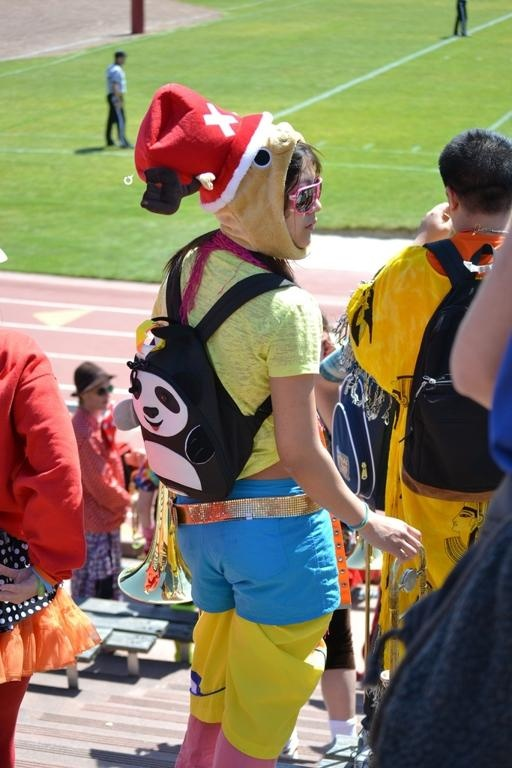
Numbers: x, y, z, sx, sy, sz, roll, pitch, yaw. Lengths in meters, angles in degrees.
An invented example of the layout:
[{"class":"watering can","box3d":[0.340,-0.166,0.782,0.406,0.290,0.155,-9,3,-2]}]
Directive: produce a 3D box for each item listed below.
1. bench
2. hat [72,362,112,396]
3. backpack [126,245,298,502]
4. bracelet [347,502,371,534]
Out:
[{"class":"bench","box3d":[-0.543,1.073,3.866,0.807,0.142,0.431,3,26,5]},{"class":"hat","box3d":[-0.899,-0.029,5.180,0.169,0.098,0.218,-25,-2,38]},{"class":"backpack","box3d":[-0.165,0.011,2.558,0.429,0.627,0.207,11,11,39]},{"class":"bracelet","box3d":[0.280,0.350,2.481,0.029,0.067,0.061,30,45,20]}]
